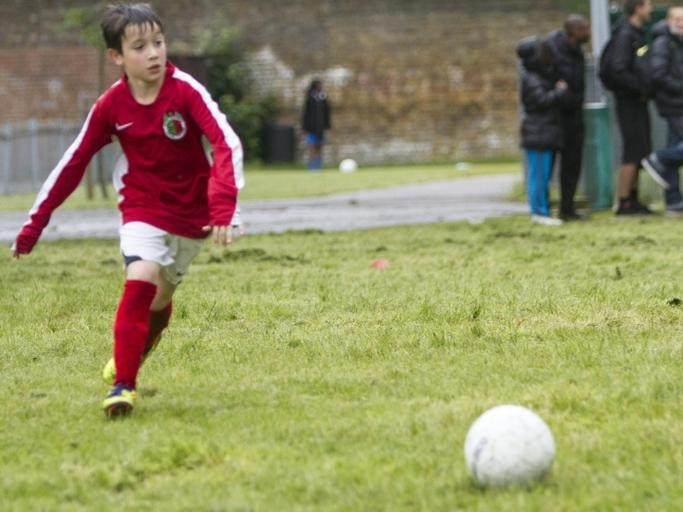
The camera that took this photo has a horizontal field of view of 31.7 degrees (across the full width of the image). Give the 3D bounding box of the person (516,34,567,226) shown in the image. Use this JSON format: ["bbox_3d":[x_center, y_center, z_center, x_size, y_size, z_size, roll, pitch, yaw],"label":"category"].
[{"bbox_3d":[1.415,-0.853,8.335,0.330,1.261,0.507,-3,-4,12],"label":"person"}]

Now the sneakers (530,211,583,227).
[{"bbox_3d":[1.510,-0.257,8.579,0.252,0.121,0.091,-1,5,8],"label":"sneakers"}]

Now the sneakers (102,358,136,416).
[{"bbox_3d":[-1.221,0.729,6.566,0.172,0.301,0.397,-2,-3,-11],"label":"sneakers"}]

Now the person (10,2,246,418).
[{"bbox_3d":[-1.068,-0.255,6.633,1.177,2.236,0.563,-5,-4,29],"label":"person"}]

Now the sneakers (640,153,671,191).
[{"bbox_3d":[2.279,-0.610,8.704,0.131,0.317,0.127,-38,19,6],"label":"sneakers"}]

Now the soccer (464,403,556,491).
[{"bbox_3d":[0.733,0.971,5.946,0.375,0.459,0.446,4,-6,15],"label":"soccer"}]

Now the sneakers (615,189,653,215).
[{"bbox_3d":[2.096,-0.382,8.669,0.333,0.252,0.127,0,-1,2],"label":"sneakers"}]
